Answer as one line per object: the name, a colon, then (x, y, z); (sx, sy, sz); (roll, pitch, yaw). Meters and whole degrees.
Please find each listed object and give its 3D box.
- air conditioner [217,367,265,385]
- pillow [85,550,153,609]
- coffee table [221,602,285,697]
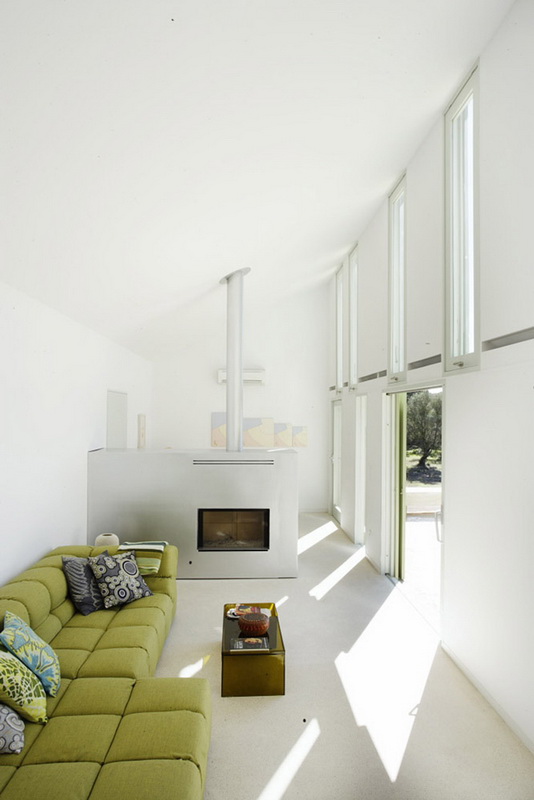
air conditioner: (-0.403, -0.375, 9.175); (0.734, 0.247, 0.218); (-2, 1, -8)
pillow: (-1.048, 1.260, 4.182); (0.395, 0.129, 0.445); (3, 39, -44)
coffee table: (-0.090, 1.483, 3.849); (0.377, 0.345, 0.741); (-1, 23, -3)
